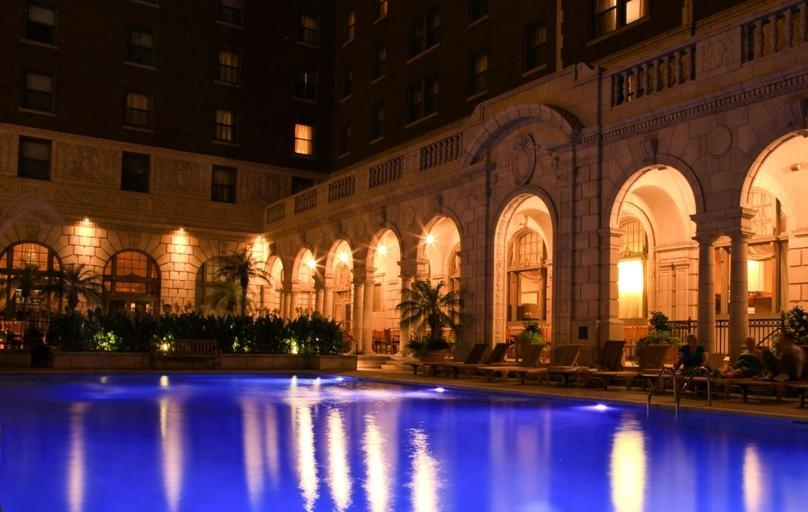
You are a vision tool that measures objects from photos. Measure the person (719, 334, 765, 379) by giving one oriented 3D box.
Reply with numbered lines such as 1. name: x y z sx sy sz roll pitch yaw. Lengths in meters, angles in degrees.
1. person: 9.695 2.948 24.162 1.534 1.167 0.646 -2 -4 -35

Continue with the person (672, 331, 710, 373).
1. person: 8.345 2.867 24.466 0.885 1.281 0.951 0 -23 15

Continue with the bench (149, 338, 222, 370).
1. bench: -8.422 3.814 32.857 2.509 1.180 1.202 3 -9 -12
